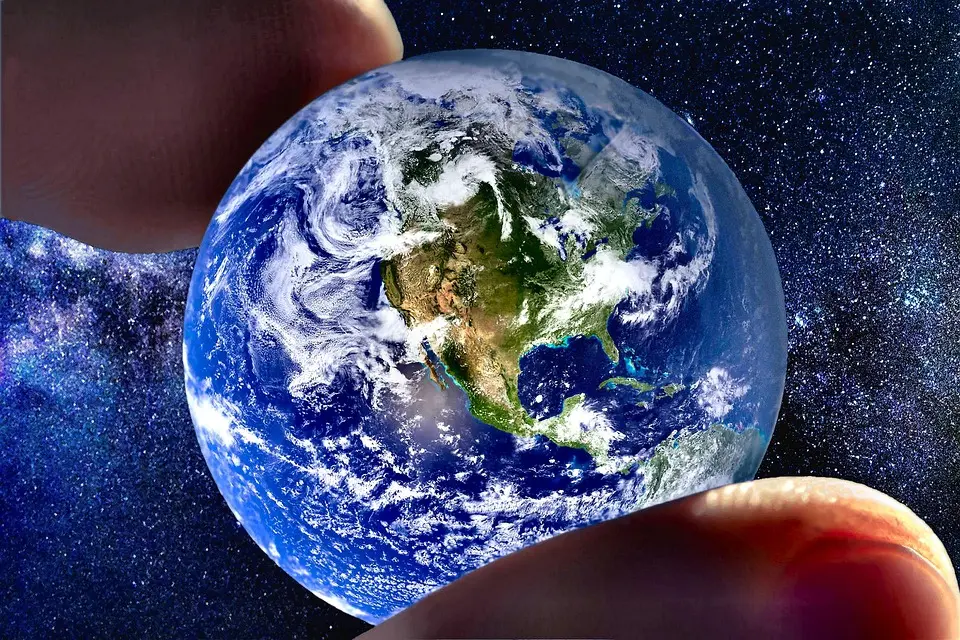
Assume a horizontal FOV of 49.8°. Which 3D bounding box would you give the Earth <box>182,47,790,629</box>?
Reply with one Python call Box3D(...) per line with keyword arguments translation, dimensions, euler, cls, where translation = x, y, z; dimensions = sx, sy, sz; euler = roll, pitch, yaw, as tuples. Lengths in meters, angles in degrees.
Box3D(translation=(-0.007, 0.092, 2.736), dimensions=(1.447, 0.912, 1.731), euler=(-5, 62, -6), cls="Earth")
